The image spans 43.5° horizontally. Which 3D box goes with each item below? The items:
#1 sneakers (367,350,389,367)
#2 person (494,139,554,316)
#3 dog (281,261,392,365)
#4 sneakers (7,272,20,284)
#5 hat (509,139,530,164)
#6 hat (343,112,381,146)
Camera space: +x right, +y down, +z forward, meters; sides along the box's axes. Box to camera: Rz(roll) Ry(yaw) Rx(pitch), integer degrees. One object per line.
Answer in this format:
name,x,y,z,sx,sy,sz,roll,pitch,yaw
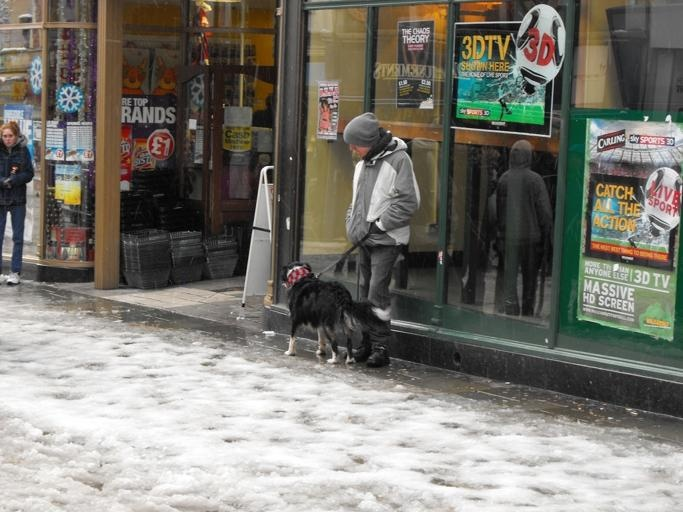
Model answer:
sneakers,0.351,0.994,8.229,0.097,0.130,0.272,0,-7,31
person,1.665,-0.254,7.889,0.152,1.601,0.584,-5,10,-38
dog,-0.119,0.604,8.244,0.474,0.892,1.741,-5,8,-32
sneakers,-4.550,0.295,11.850,0.179,0.155,0.261,-2,9,-23
hat,1.656,-0.946,7.869,0.165,0.216,0.208,1,9,21
hat,0.185,-1.223,8.292,0.353,0.306,0.256,0,22,-33
